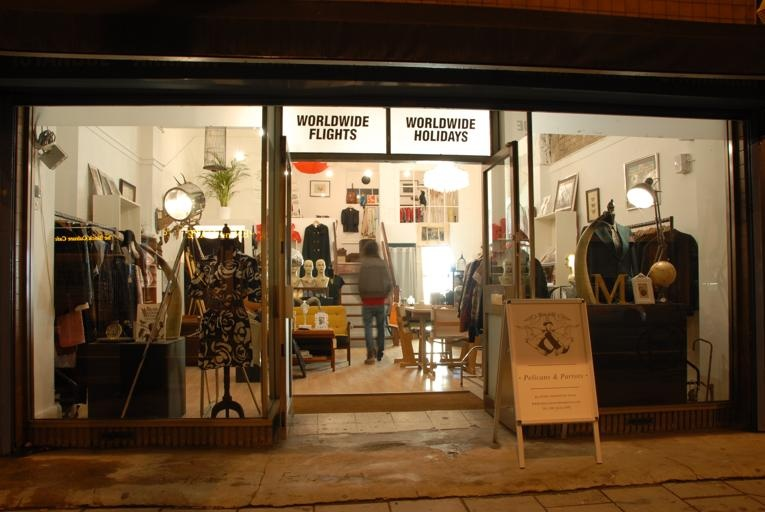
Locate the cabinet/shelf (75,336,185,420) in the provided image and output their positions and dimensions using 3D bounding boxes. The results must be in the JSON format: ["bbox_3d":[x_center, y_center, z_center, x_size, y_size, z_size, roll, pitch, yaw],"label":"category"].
[{"bbox_3d":[-2.288,1.118,5.806,0.935,0.651,0.258,-1,10,-4],"label":"cabinet/shelf"}]

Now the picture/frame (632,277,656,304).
[{"bbox_3d":[2.547,0.340,6.220,0.245,0.357,0.035,-1,-5,-11],"label":"picture/frame"}]

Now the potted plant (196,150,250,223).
[{"bbox_3d":[-1.501,-0.641,5.997,0.394,0.569,0.258,6,11,29],"label":"potted plant"}]

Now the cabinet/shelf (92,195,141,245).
[{"bbox_3d":[-2.806,-0.378,6.649,0.271,0.483,0.518,-3,-4,15],"label":"cabinet/shelf"}]

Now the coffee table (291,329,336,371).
[{"bbox_3d":[-0.973,1.302,9.065,0.549,0.653,0.633,0,10,-2],"label":"coffee table"}]

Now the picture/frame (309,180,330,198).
[{"bbox_3d":[-1.501,-1.553,14.692,0.394,0.330,0.018,-1,-1,-9],"label":"picture/frame"}]

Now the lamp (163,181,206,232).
[{"bbox_3d":[-1.869,-0.496,5.935,0.381,0.407,0.141,-3,10,-16],"label":"lamp"}]

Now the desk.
[{"bbox_3d":[0.764,1.232,9.142,0.844,1.170,0.927,2,0,-20],"label":"desk"}]

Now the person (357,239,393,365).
[{"bbox_3d":[-0.133,0.726,9.935,0.484,1.839,0.934,0,10,-1],"label":"person"}]

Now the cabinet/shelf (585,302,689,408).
[{"bbox_3d":[2.492,0.946,6.155,0.997,0.924,0.246,-1,10,-6],"label":"cabinet/shelf"}]

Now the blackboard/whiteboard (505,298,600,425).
[{"bbox_3d":[1.456,0.897,5.502,0.714,0.969,0.422,-1,10,-8],"label":"blackboard/whiteboard"}]
